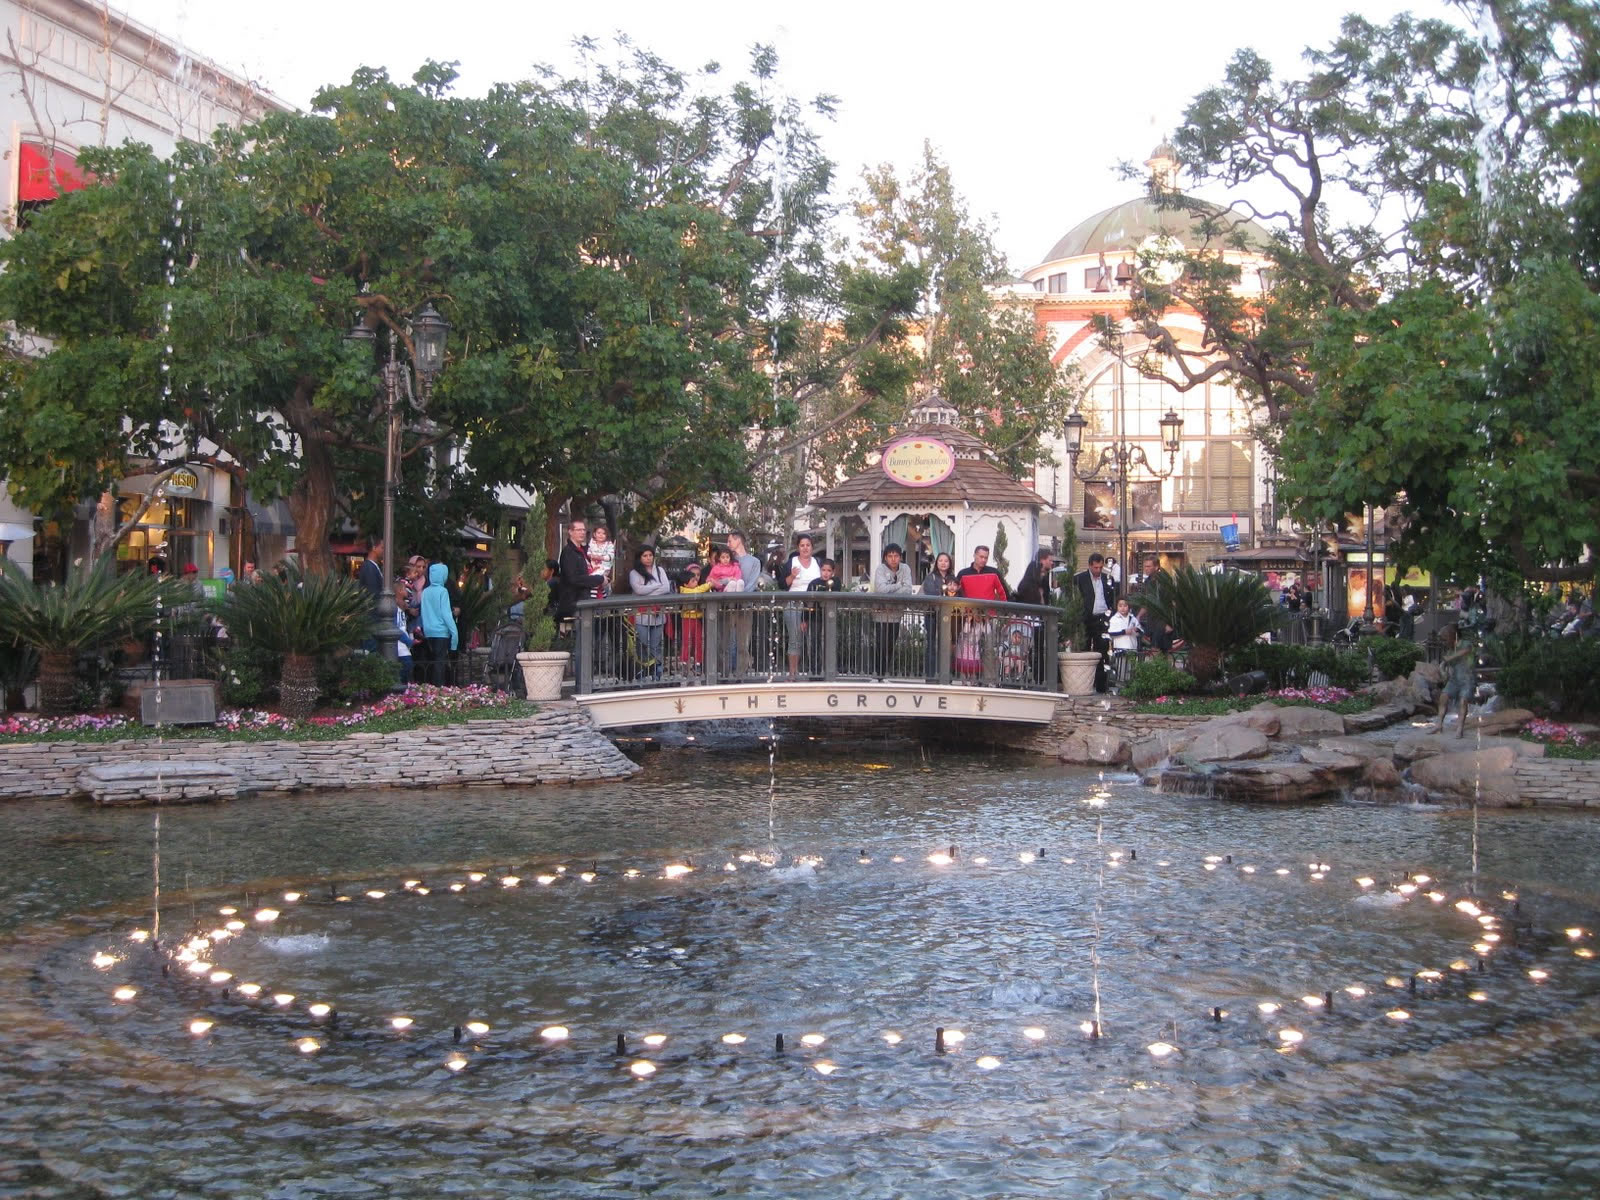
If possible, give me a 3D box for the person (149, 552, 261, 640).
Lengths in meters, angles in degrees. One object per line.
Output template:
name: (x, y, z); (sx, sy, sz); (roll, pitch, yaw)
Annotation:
person: (-8.574, -0.094, 25.995); (1.457, 1.029, 1.367); (3, -5, -41)
